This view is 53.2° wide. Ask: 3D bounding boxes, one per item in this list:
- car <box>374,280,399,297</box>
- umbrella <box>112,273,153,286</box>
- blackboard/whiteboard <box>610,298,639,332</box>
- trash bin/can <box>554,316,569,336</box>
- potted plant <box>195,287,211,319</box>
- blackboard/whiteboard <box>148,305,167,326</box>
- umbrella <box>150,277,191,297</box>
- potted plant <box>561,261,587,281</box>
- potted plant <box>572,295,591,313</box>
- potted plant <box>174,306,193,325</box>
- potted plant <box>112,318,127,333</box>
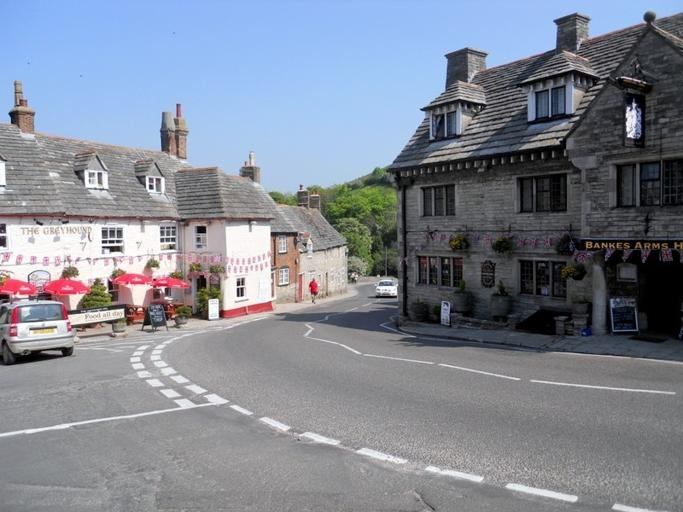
[{"bbox_3d":[4.017,2.830,59.471,1.545,1.327,3.555,-1,-6,5],"label":"car"},{"bbox_3d":[-10.736,1.232,34.924,1.832,0.706,1.448,-4,11,-14],"label":"umbrella"},{"bbox_3d":[10.580,2.186,25.435,1.133,1.628,0.263,0,-8,0],"label":"blackboard/whiteboard"},{"bbox_3d":[8.756,2.747,26.785,0.606,0.975,0.628,-3,-9,30],"label":"trash bin/can"},{"bbox_3d":[-7.863,2.671,38.748,0.849,1.655,0.523,1,11,11],"label":"potted plant"},{"bbox_3d":[-8.942,2.875,32.929,0.891,1.264,0.707,-2,-5,-42],"label":"blackboard/whiteboard"},{"bbox_3d":[-9.460,1.547,37.551,1.921,1.158,3.277,-4,11,-15],"label":"umbrella"},{"bbox_3d":[9.203,0.554,26.779,0.700,0.717,0.820,-6,-12,22],"label":"potted plant"},{"bbox_3d":[9.462,1.908,26.687,0.591,0.626,0.834,0,-1,5],"label":"potted plant"},{"bbox_3d":[-8.420,3.094,36.093,0.838,1.017,0.936,1,1,29],"label":"potted plant"},{"bbox_3d":[-10.370,3.215,31.656,0.559,0.444,0.583,0,-9,-7],"label":"potted plant"}]
